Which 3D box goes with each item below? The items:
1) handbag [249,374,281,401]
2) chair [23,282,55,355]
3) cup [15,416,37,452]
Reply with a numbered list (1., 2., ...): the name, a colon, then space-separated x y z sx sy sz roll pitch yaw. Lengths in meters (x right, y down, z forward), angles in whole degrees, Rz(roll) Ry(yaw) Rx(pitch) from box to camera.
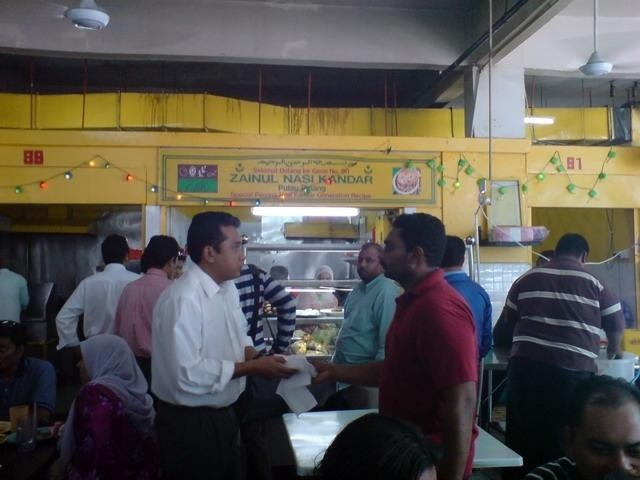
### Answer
1. handbag: -0.439 1.121 5.434 0.233 0.236 0.064 6 -14 -35
2. chair: -3.619 0.972 9.126 0.462 0.788 0.447 -2 7 8
3. cup: -2.166 1.405 5.258 0.156 0.255 0.161 2 -3 0
